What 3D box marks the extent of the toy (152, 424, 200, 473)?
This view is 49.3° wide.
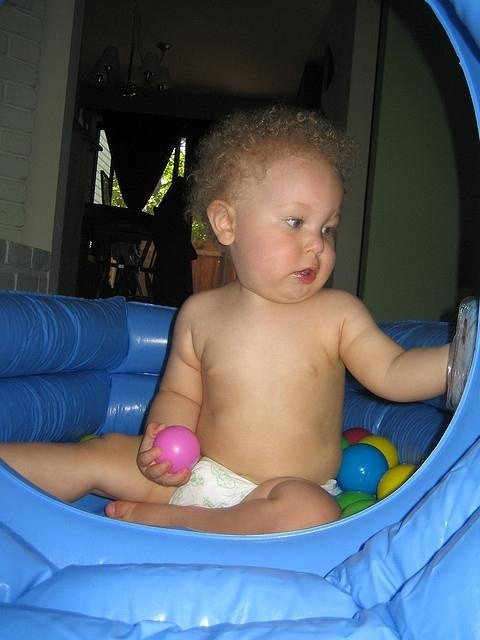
[{"bbox_3d":[-0.097,0.207,0.825,0.074,0.069,0.062,4,6,-12],"label":"toy"}]

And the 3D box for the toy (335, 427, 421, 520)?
[{"bbox_3d":[0.259,0.289,1.001,0.070,0.171,0.169,29,-31,-28],"label":"toy"}]

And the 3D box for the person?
[{"bbox_3d":[0.013,-0.028,0.838,0.624,0.723,0.398,8,7,23],"label":"person"}]
